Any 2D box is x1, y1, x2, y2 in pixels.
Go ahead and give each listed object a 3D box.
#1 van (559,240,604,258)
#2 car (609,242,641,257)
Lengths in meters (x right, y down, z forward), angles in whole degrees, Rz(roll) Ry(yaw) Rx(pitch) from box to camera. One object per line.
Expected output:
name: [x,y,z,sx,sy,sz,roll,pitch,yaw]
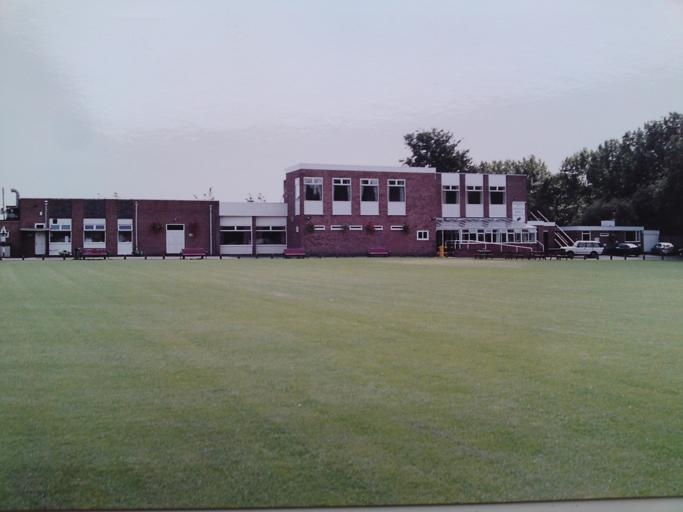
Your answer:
van: [19.418,-0.828,58.782,3.124,1.479,1.822,2,-2,1]
car: [24.997,-0.552,64.881,1.168,0.850,2.467,-1,4,-18]
